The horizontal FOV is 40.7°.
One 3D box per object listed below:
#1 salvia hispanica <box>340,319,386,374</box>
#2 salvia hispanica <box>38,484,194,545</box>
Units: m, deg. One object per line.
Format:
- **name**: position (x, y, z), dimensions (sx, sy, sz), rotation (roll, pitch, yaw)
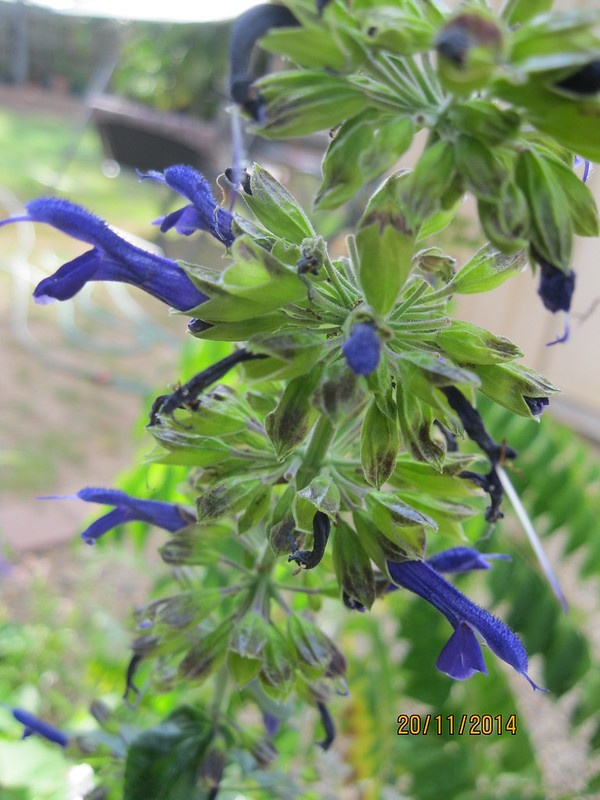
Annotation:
- **salvia hispanica**: position (0.044, -0.037, 0.571), dimensions (0.031, 0.034, 0.015), rotation (3, -9, -13)
- **salvia hispanica**: position (-0.202, 0.124, 0.852), dimensions (0.098, 0.059, 0.151), rotation (1, -12, 40)
